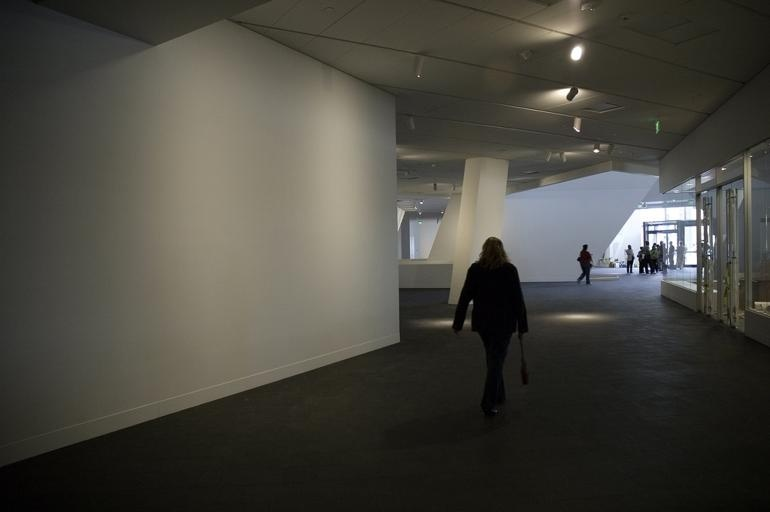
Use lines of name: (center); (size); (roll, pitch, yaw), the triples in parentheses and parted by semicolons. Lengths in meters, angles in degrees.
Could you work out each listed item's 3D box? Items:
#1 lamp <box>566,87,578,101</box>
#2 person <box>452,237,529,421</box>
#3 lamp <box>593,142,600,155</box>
lamp: (3.457, -3.018, 9.131); (0.214, 0.097, 0.405); (3, -3, 6)
person: (1.308, 0.839, 6.156); (0.849, 2.120, 0.536); (0, 5, 15)
lamp: (6.122, -3.160, 14.344); (0.183, 0.187, 0.351); (0, 17, 10)
